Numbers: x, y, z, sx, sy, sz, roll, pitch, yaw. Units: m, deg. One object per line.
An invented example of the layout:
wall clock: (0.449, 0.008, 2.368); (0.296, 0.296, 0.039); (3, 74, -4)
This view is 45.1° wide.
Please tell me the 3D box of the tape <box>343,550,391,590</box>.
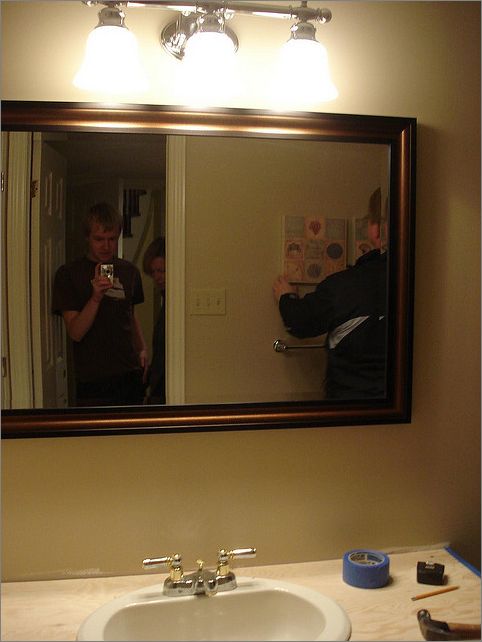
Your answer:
tape: (0.241, 0.470, 1.124); (0.081, 0.048, 0.097); (0, -1, 39)
